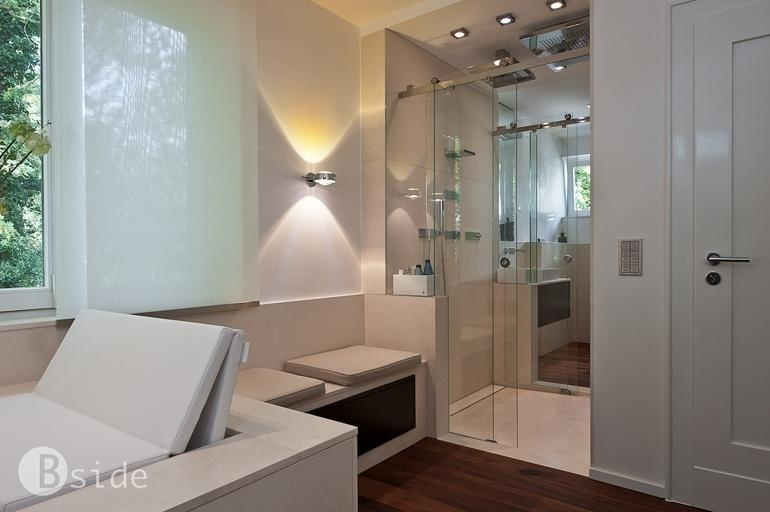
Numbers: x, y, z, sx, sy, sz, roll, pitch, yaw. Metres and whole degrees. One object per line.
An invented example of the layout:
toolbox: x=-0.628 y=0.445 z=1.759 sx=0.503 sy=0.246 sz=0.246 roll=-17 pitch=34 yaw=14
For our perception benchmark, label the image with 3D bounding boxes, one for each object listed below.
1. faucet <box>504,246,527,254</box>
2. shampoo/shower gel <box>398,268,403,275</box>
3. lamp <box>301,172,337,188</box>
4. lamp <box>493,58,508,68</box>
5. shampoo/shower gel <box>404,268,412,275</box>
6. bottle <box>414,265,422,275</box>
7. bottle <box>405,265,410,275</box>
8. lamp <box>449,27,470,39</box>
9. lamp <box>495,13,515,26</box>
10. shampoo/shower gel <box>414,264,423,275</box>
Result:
faucet: x=0.998 y=-0.043 z=4.057 sx=0.115 sy=0.046 sz=0.064 roll=0 pitch=1 yaw=12
shampoo/shower gel: x=0.131 y=0.135 z=4.404 sx=0.062 sy=0.063 sz=0.034 roll=0 pitch=0 yaw=37
lamp: x=-0.507 y=-0.599 z=4.095 sx=0.187 sy=0.092 sz=0.134 roll=1 pitch=1 yaw=30
lamp: x=0.870 y=-1.476 z=4.027 sx=0.088 sy=0.068 sz=0.155 roll=-3 pitch=9 yaw=-5
shampoo/shower gel: x=0.186 y=0.130 z=4.360 sx=0.053 sy=0.049 sz=0.013 roll=0 pitch=-11 yaw=30
bottle: x=0.277 y=0.107 z=4.284 sx=0.069 sy=0.055 sz=0.057 roll=-1 pitch=-7 yaw=28
bottle: x=0.192 y=0.123 z=4.371 sx=0.060 sy=0.056 sz=0.015 roll=-2 pitch=-18 yaw=46
lamp: x=0.618 y=-1.833 z=4.332 sx=0.158 sy=0.059 sz=0.140 roll=5 pitch=11 yaw=36
lamp: x=0.943 y=-1.847 z=4.103 sx=0.146 sy=0.055 sz=0.126 roll=4 pitch=11 yaw=34
shampoo/shower gel: x=0.274 y=0.103 z=4.285 sx=0.074 sy=0.056 sz=0.060 roll=-2 pitch=-7 yaw=34
